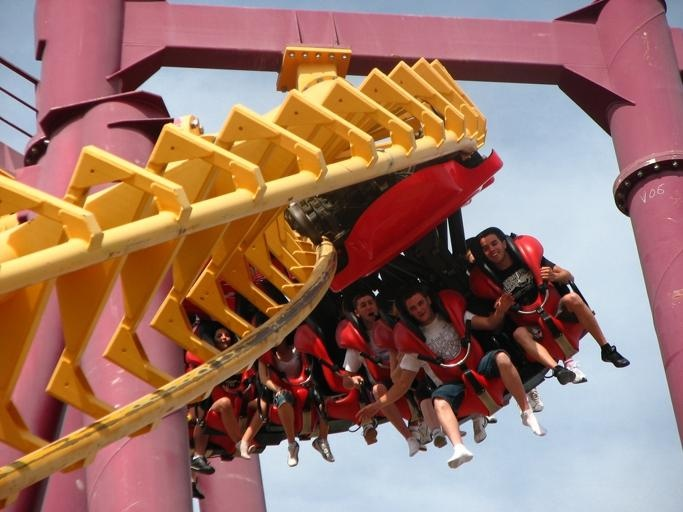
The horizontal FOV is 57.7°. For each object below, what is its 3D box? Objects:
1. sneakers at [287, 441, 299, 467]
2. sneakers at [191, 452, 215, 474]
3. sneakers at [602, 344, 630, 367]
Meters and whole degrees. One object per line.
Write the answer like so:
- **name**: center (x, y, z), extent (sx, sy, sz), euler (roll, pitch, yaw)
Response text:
- **sneakers**: center (-0.614, 2.524, 7.974), extent (0.124, 0.306, 0.373), euler (-4, -17, -7)
- **sneakers**: center (-2.044, 3.072, 9.075), extent (0.538, 0.252, 0.202), euler (2, 0, 43)
- **sneakers**: center (3.220, 1.163, 7.310), extent (0.250, 0.296, 0.246), euler (-15, -18, 24)
